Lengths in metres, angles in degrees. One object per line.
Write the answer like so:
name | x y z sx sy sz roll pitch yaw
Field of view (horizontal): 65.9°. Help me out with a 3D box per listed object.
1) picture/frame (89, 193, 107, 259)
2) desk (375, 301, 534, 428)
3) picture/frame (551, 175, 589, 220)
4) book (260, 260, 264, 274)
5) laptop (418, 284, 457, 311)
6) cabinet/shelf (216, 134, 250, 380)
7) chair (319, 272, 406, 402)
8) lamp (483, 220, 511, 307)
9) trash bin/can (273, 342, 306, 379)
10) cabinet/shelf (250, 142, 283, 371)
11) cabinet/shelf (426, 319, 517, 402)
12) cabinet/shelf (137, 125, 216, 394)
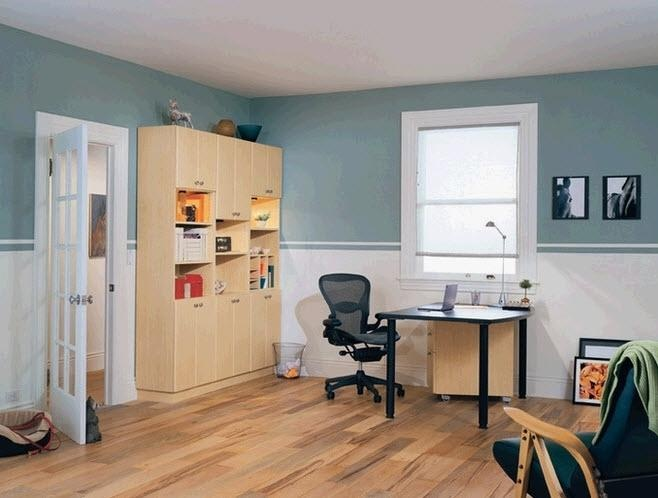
picture/frame | -2.912 -0.293 6.366 0.060 0.804 0.237 2 2 24
desk | 1.459 1.144 5.070 1.820 1.091 1.332 -2 -2 -16
picture/frame | 2.638 -0.558 5.517 0.485 0.630 0.025 1 -2 26
book | -0.860 0.243 6.455 0.041 0.186 0.053 0 2 -8
laptop | 1.117 0.517 5.179 0.274 0.232 0.390 -1 -4 22
cabinet/shelf | -1.118 0.090 5.956 0.385 2.737 0.496 0 2 -7
chair | 0.302 0.919 5.517 0.851 1.351 0.920 2 -4 -37
lamp | 1.887 0.159 5.741 0.226 0.929 0.213 1 2 16
trash bin/can | -0.562 1.459 6.573 0.486 0.404 0.445 5 -13 -21
cabinet/shelf | -0.904 0.105 6.449 0.288 2.629 0.604 1 1 40
cabinet/shelf | 1.453 1.205 5.702 1.008 0.785 0.963 0 -7 3
cabinet/shelf | -1.625 0.107 5.390 0.820 2.772 0.440 0 2 -22
